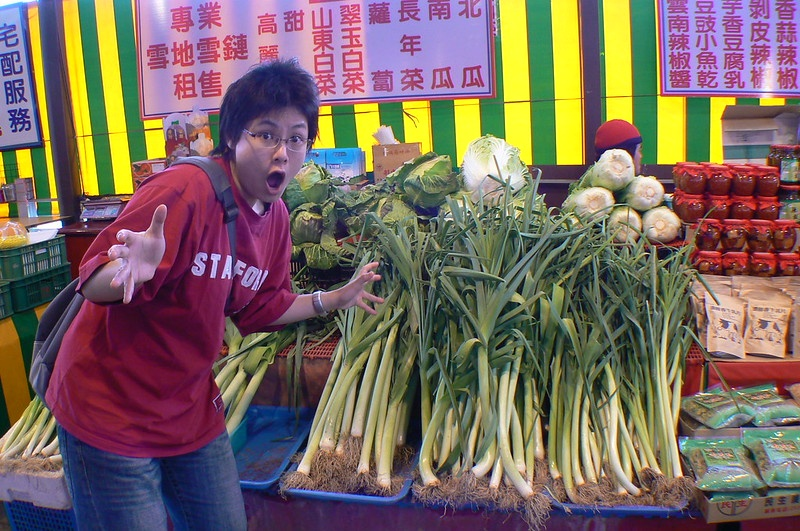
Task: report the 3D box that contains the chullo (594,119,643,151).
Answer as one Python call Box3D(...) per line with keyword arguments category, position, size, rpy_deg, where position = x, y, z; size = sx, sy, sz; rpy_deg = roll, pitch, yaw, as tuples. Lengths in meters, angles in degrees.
Box3D(category="chullo", position=(1.576, -0.948, 4.098), size=(0.242, 0.169, 0.253), rpy_deg=(-3, 10, 17))

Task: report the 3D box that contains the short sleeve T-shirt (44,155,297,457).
Box3D(category="short sleeve T-shirt", position=(-0.810, 0.151, 2.095), size=(0.898, 1.066, 0.441), rpy_deg=(-6, 6, -35))
